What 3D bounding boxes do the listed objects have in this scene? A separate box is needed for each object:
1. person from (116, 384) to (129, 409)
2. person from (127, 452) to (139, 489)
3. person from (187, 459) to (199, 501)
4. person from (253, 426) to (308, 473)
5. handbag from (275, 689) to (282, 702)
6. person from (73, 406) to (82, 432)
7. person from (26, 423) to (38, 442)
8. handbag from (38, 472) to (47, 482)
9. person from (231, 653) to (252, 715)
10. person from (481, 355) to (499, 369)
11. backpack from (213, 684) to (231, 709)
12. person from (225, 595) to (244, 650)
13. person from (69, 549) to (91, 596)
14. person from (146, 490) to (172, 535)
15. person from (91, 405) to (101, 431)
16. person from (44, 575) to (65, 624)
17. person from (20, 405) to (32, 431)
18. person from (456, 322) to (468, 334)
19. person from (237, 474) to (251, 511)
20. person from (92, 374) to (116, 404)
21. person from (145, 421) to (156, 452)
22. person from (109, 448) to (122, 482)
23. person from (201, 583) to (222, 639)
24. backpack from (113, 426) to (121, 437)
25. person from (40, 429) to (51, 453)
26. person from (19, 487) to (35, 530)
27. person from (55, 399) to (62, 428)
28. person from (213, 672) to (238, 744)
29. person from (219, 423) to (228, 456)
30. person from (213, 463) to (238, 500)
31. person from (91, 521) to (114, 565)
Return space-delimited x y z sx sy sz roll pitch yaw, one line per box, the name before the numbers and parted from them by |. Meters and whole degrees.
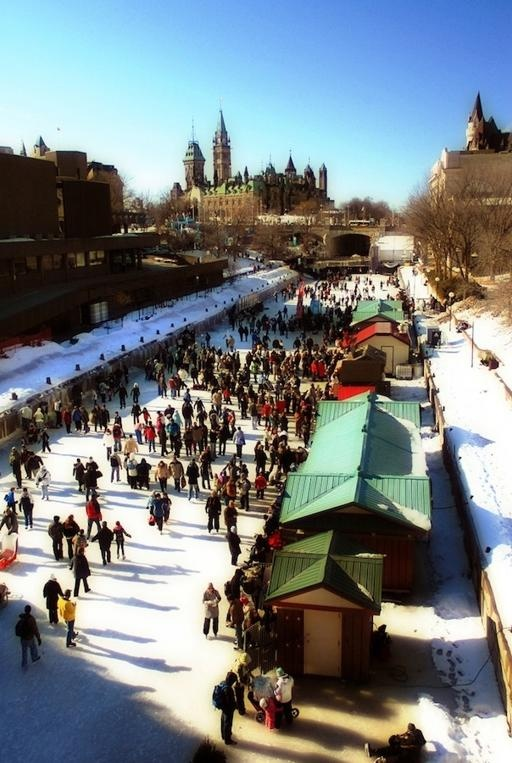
person | -6.334 0.645 25.598 0.356 1.059 2.143 -2 9 -13
person | -3.778 2.856 16.509 0.331 1.139 0.812 -2 8 -14
person | -1.855 2.874 15.799 0.335 1.326 1.041 -1 8 -5
person | 0.778 2.307 17.257 1.071 0.919 1.696 -5 5 5
handbag | 0.290 4.109 7.020 0.050 0.150 0.099 -13 -16 -19
person | -7.268 1.562 22.036 0.327 1.084 0.964 -3 8 -19
person | -8.535 2.024 20.595 0.302 0.827 0.527 -4 8 -28
handbag | -6.054 2.732 15.326 0.265 0.288 0.175 -5 9 -29
person | -0.170 4.202 7.455 0.260 0.914 0.283 -1 10 7
person | 11.797 -1.009 27.208 0.690 0.844 0.743 1 -5 9
backpack | -0.448 3.996 6.792 0.200 0.370 0.158 4 9 32
person | -0.341 4.280 9.495 0.254 0.859 1.035 -1 8 -6
person | -3.448 3.697 10.570 0.306 1.142 0.268 -1 20 -16
person | -2.466 3.362 13.725 0.476 1.164 0.723 -2 8 -15
person | -6.581 1.548 22.245 0.319 1.118 1.308 -2 9 -17
person | -3.598 3.873 9.588 0.301 0.916 0.202 1 11 -13
person | -8.998 1.517 21.105 0.401 1.209 1.838 -3 9 -24
person | 14.634 -3.892 38.174 0.654 0.780 2.203 2 9 16
person | -0.340 3.084 15.410 0.325 1.149 1.084 -1 8 -2
person | -7.448 0.406 26.459 0.792 1.655 0.636 7 33 4
person | -3.859 2.038 19.615 0.368 1.168 0.842 -2 8 -13
person | -4.549 2.709 17.455 0.351 1.110 1.593 -2 9 -15
person | -0.761 3.963 9.341 0.244 0.920 0.263 -1 9 -13
backpack | -4.766 1.701 18.477 0.171 0.407 0.252 5 11 31
person | -7.885 2.143 20.231 0.316 0.825 1.284 -3 9 -22
person | -5.891 3.278 13.857 0.252 1.151 0.873 -3 8 -21
person | -8.353 1.366 22.869 0.229 1.242 0.659 -3 8 -22
person | -0.406 4.144 6.872 0.258 0.947 0.239 0 5 -14
person | -1.214 2.102 19.775 0.329 1.208 0.728 -1 7 -5
person | -0.789 2.819 14.997 0.519 1.165 0.974 1 1 1
person | -3.570 3.807 12.525 0.664 1.421 0.472 2 43 -8
